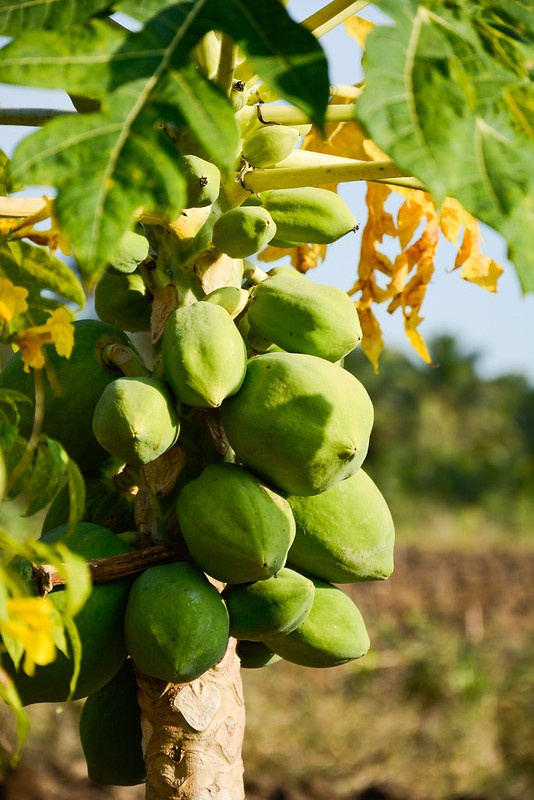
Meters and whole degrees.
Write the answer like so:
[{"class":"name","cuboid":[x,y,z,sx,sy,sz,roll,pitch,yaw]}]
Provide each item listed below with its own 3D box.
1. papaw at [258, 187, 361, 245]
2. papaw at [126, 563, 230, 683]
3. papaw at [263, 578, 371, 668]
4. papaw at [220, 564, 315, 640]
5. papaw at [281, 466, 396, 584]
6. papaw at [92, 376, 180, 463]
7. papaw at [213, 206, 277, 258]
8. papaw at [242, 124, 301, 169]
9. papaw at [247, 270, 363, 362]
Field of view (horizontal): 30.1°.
[{"class":"papaw","cuboid":[0.062,-0.279,1.514,0.141,0.085,0.092,-2,7,-1]},{"class":"papaw","cuboid":[-0.108,0.289,1.241,0.121,0.149,0.119,-7,9,-32]},{"class":"papaw","cuboid":[0.083,0.317,1.412,0.161,0.101,0.085,15,42,-26]},{"class":"papaw","cuboid":[0.001,0.261,1.278,0.121,0.062,0.079,-10,-5,-36]},{"class":"papaw","cuboid":[0.094,0.178,1.422,0.125,0.168,0.105,-46,10,-16]},{"class":"papaw","cuboid":[-0.163,0.030,1.260,0.108,0.109,0.093,-3,8,-13]},{"class":"papaw","cuboid":[-0.033,-0.235,1.377,0.085,0.075,0.121,-2,7,-2]},{"class":"papaw","cuboid":[0.016,-0.366,1.445,0.070,0.061,0.100,3,8,33]},{"class":"papaw","cuboid":[0.051,-0.110,1.382,0.154,0.120,0.086,-2,8,-4]}]
